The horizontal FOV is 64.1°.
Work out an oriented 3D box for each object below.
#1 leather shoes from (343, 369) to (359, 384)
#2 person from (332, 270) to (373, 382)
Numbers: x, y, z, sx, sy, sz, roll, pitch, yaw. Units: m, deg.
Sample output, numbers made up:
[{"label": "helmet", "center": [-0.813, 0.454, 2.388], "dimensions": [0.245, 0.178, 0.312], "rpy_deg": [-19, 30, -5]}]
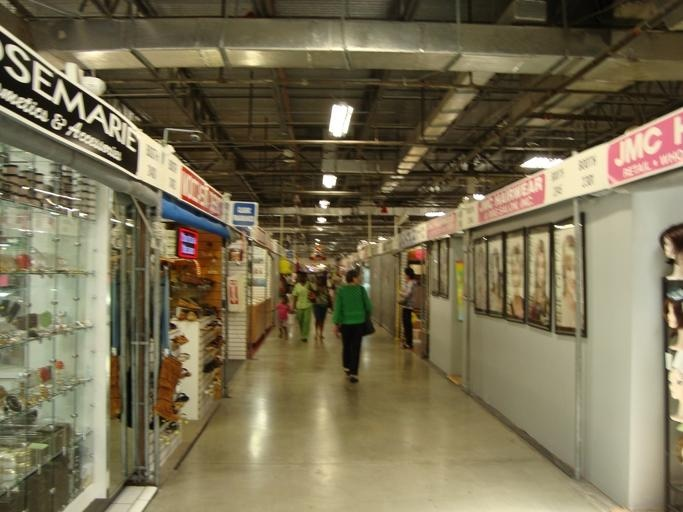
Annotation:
[{"label": "leather shoes", "center": [0.149, 1.974, 8.830], "dimensions": [0.120, 0.192, 0.310], "rpy_deg": [-1, -26, -5]}, {"label": "person", "center": [0.201, 1.110, 9.002], "dimensions": [0.627, 1.813, 1.098], "rpy_deg": [0, 1, 2]}]
